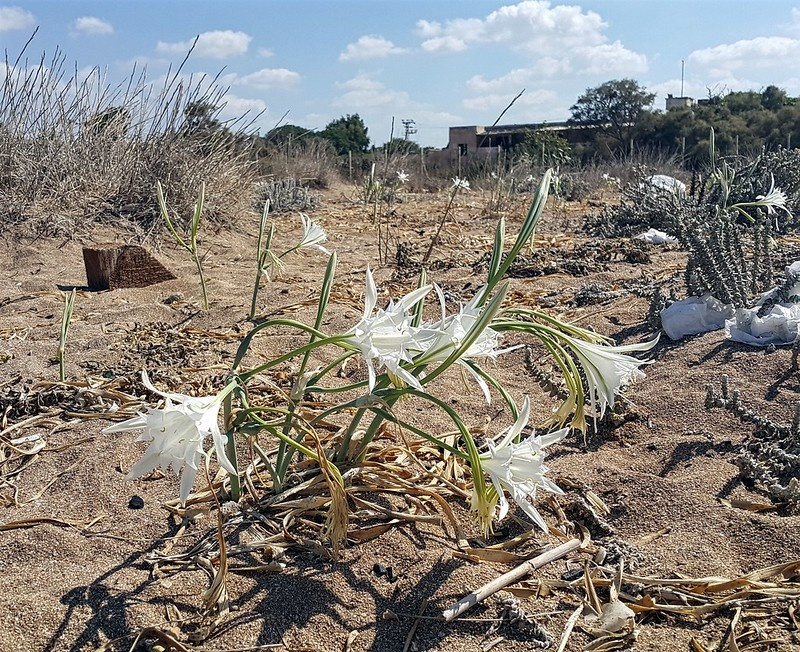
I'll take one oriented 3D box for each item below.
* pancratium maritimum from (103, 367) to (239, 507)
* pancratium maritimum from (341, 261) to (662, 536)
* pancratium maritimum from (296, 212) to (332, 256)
[{"bbox_3d":[-0.498,0.283,1.822,0.291,0.168,0.359,31,33,16],"label":"pancratium maritimum"},{"bbox_3d":[0.231,0.252,2.030,0.798,0.755,0.403,4,9,-9],"label":"pancratium maritimum"},{"bbox_3d":[-0.368,-0.385,3.056,0.087,0.067,0.120,-14,-22,-24],"label":"pancratium maritimum"}]
